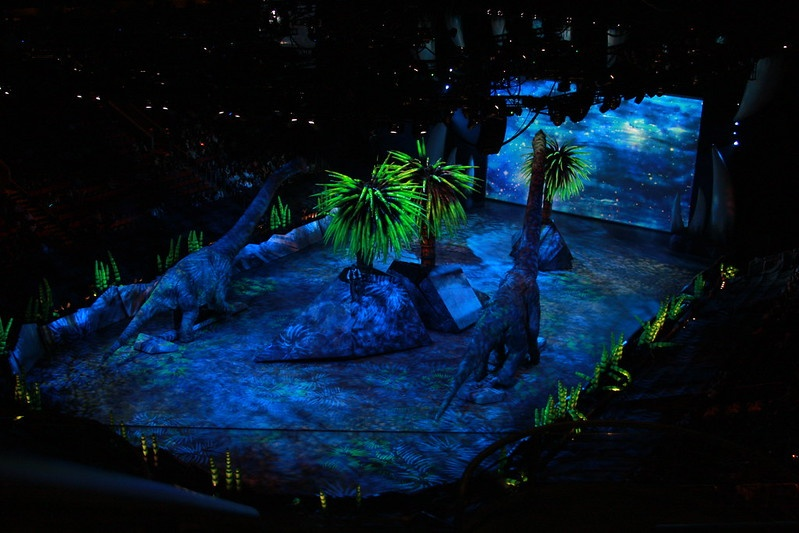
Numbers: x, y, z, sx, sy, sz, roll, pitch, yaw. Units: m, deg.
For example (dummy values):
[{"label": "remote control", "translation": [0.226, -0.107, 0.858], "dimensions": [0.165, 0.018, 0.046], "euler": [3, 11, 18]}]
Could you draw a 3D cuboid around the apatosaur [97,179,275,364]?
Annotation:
[{"label": "apatosaur", "translation": [-3.068, -0.071, 8.320], "dimensions": [0.815, 1.750, 3.521], "euler": [15, 25, 22]}]

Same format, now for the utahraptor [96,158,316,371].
[{"label": "utahraptor", "translation": [-3.272, -0.012, 8.725], "dimensions": [1.122, 2.050, 4.194], "euler": [34, 46, 23]}]

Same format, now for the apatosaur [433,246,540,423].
[{"label": "apatosaur", "translation": [1.435, 0.865, 7.209], "dimensions": [0.713, 1.401, 2.477], "euler": [15, 34, 27]}]
